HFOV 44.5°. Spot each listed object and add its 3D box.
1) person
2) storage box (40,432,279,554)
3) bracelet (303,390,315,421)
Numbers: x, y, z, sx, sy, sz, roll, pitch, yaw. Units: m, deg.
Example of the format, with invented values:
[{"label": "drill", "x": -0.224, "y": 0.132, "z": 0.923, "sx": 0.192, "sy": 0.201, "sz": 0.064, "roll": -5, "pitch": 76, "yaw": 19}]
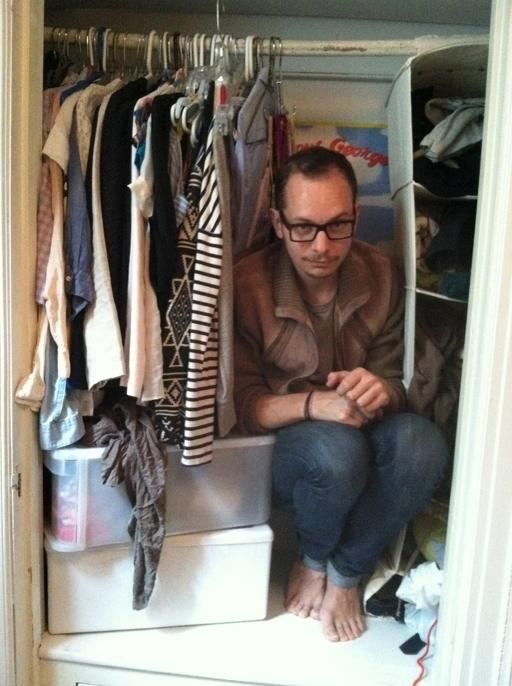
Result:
[{"label": "person", "x": 0.166, "y": 0.120, "z": 1.281, "sx": 0.418, "sy": 0.998, "sz": 0.128, "roll": -4, "pitch": 9, "yaw": -4}, {"label": "storage box", "x": -0.182, "y": 0.273, "z": 1.254, "sx": 0.361, "sy": 0.167, "sz": 0.245, "roll": -2, "pitch": 13, "yaw": -11}, {"label": "bracelet", "x": 0.111, "y": 0.133, "z": 1.306, "sx": 0.032, "sy": 0.047, "sz": 0.016, "roll": 2, "pitch": -2, "yaw": -12}]
